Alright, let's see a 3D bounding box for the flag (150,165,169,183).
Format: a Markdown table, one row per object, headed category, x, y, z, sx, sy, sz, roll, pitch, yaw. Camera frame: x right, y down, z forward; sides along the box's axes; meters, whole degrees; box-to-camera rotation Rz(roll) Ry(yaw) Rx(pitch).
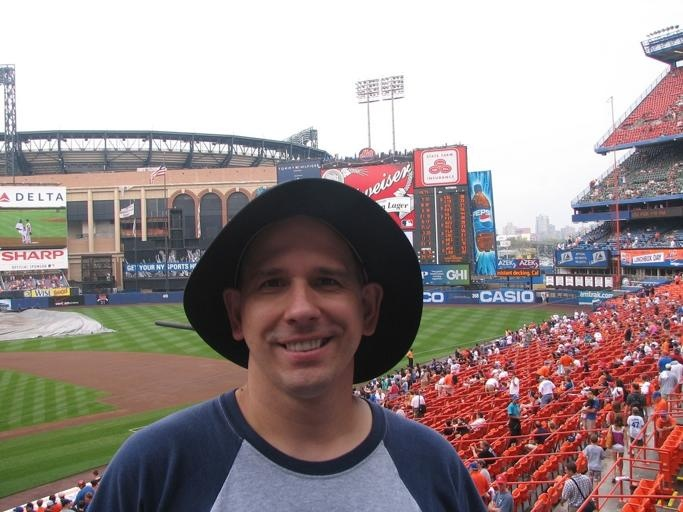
| category | x | y | z | sx | sy | sz | roll | pitch | yaw |
| --- | --- | --- | --- | --- | --- | --- | --- | --- | --- |
| flag | -19.109 | -8.512 | 73.821 | 1.693 | 0.873 | 2.150 | -12 | -1 | -22 |
